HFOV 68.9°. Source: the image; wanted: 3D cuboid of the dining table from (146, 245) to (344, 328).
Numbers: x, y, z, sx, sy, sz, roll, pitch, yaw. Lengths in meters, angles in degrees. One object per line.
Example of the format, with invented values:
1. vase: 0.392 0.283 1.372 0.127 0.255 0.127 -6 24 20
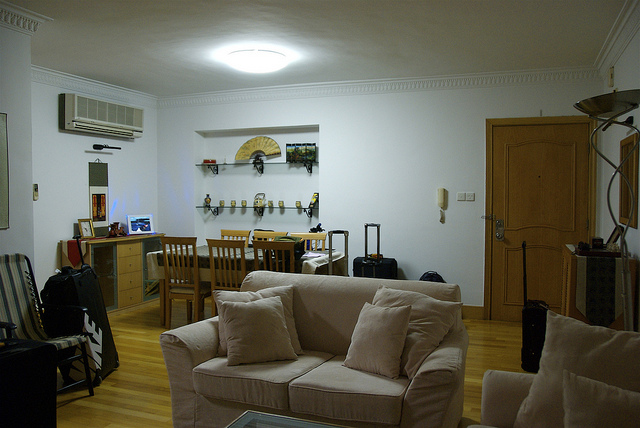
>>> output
1. dining table: -0.991 0.764 7.052 2.489 1.099 1.498 1 2 21

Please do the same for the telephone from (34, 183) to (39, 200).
1. telephone: -3.790 -0.300 6.228 0.028 0.218 0.075 -1 2 6

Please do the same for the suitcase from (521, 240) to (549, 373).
1. suitcase: 2.301 0.998 5.028 0.294 1.315 0.296 2 6 32

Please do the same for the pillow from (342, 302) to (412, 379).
1. pillow: 0.479 1.035 3.913 0.534 0.517 0.304 -5 -10 44

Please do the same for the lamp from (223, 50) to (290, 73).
1. lamp: -0.801 -1.865 5.719 0.829 0.169 0.484 -2 1 4

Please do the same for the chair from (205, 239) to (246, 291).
1. chair: -1.122 0.675 5.846 0.461 0.573 0.851 6 -8 4

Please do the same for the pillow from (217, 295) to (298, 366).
1. pillow: -0.531 0.934 4.024 0.708 0.594 0.506 0 1 -20

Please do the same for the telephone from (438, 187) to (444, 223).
1. telephone: 1.701 -0.126 6.539 0.080 0.467 0.082 -1 2 14

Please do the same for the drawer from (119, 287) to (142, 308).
1. drawer: -2.812 1.234 6.925 0.190 0.232 0.368 4 2 28

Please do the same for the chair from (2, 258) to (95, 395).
1. chair: -2.614 1.099 4.465 0.887 1.368 0.735 -1 2 29

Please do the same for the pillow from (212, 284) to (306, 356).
1. pillow: -0.623 0.884 4.377 0.830 0.696 0.586 0 0 -20

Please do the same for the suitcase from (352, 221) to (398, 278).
1. suitcase: 0.780 0.576 6.582 0.542 0.950 0.360 4 11 20

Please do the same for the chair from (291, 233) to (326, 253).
1. chair: -0.144 0.404 6.663 0.308 0.449 0.298 -1 -5 17

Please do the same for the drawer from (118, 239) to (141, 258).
1. drawer: -2.809 0.502 6.881 0.179 0.231 0.351 0 0 21
